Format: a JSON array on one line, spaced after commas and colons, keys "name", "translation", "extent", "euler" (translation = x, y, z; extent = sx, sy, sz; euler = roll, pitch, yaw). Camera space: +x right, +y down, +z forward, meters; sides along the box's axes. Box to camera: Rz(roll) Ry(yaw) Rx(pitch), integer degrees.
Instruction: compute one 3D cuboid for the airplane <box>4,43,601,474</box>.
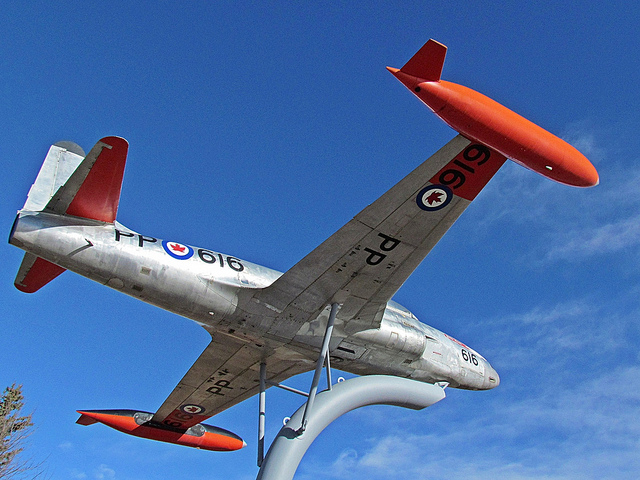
[{"name": "airplane", "translation": [-0.640, -0.915, 15.598], "extent": [11.058, 6.086, 10.952], "euler": [27, -65, -22]}]
